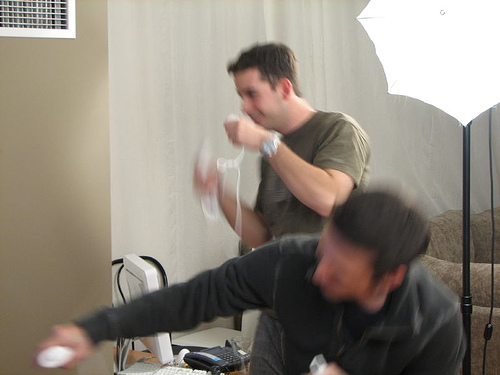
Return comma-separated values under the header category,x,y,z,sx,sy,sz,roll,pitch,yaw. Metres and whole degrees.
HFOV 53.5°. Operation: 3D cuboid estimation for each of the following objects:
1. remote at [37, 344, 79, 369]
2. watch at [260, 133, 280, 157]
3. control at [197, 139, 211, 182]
category,x,y,z,sx,sy,sz,roll,pitch,yaw
remote,-0.236,0.209,0.610,0.039,0.024,0.004,-18,-6,-33
watch,0.036,-0.076,0.856,0.024,0.036,0.010,12,8,-46
control,-0.093,-0.059,0.978,0.027,0.029,0.118,-15,51,16
